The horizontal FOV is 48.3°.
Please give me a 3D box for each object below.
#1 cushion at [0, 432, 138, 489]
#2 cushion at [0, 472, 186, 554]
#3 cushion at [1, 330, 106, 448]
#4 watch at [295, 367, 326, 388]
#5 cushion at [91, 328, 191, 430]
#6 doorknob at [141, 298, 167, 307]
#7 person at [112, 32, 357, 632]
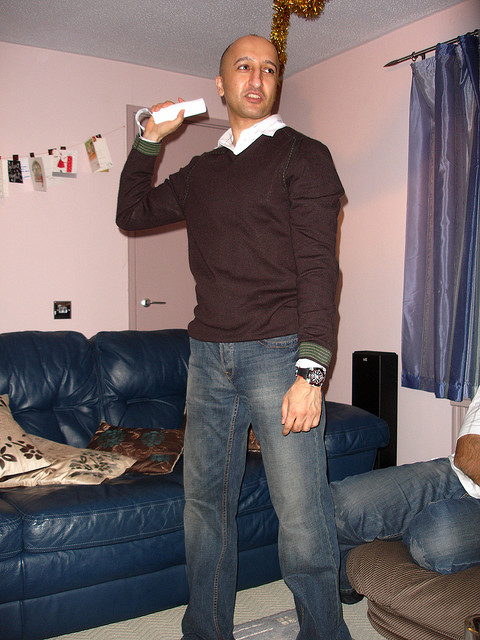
[{"bbox_3d":[-0.568,0.443,1.805,0.275,0.048,0.186,15,11,11],"label":"cushion"},{"bbox_3d":[-0.448,0.592,1.685,0.538,0.120,0.327,-6,4,-28],"label":"cushion"},{"bbox_3d":[-0.787,0.275,2.218,0.466,0.459,0.184,1,-8,-38],"label":"cushion"},{"bbox_3d":[0.133,0.102,0.979,0.048,0.051,0.030,-1,-36,-19],"label":"watch"},{"bbox_3d":[-0.426,0.250,2.409,0.501,0.481,0.197,6,-20,-27],"label":"cushion"},{"bbox_3d":[-0.600,-0.123,3.727,0.176,0.058,0.031,-6,4,-37],"label":"doorknob"},{"bbox_3d":[-0.017,0.034,1.222,0.291,1.339,0.606,-6,4,-37],"label":"person"}]
